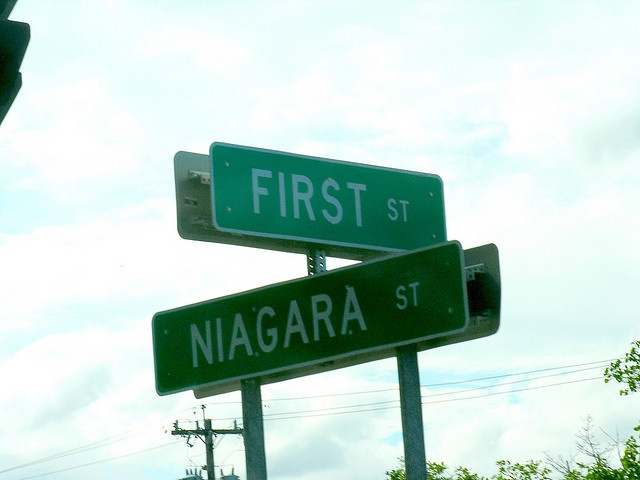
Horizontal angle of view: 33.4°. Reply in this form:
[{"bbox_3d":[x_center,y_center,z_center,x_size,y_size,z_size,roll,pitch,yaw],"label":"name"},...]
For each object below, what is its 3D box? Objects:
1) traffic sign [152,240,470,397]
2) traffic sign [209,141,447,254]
[{"bbox_3d":[-0.061,0.535,7.070,2.175,0.640,0.174,-15,-6,14],"label":"traffic sign"},{"bbox_3d":[0.067,-0.311,7.509,1.716,0.647,0.114,-11,-5,-22],"label":"traffic sign"}]
